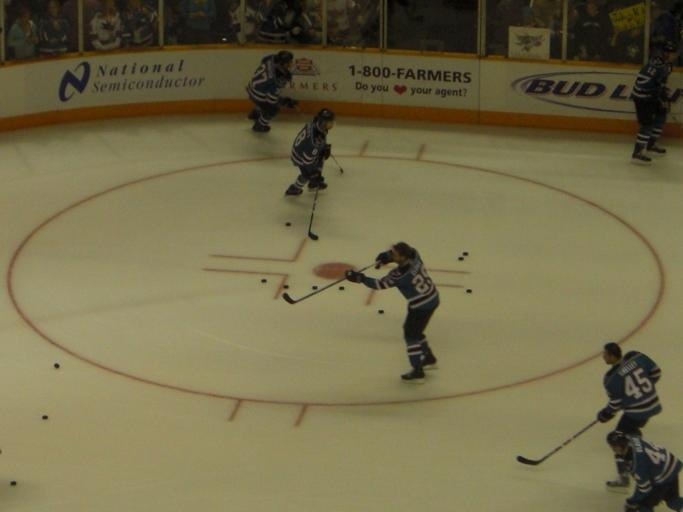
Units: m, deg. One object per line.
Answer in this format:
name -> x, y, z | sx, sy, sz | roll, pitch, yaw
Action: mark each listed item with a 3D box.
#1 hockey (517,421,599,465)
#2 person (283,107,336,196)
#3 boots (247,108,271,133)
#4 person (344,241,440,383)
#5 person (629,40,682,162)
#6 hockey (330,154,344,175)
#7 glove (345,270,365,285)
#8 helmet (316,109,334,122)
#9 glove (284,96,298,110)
hockey -> 2.306, 1.998, 8.382 | 1.002, 0.246, 0.282 | -7, 18, -26
person -> -0.568, -1.759, 13.688 | 0.712, 0.853, 1.849 | -1, -21, -6
boots -> -1.669, -2.738, 15.803 | 0.613, 0.315, 0.618 | -3, -20, 0
person -> 0.627, 0.610, 9.507 | 1.077, 1.609, 0.796 | -6, 16, -5
person -> 5.694, -2.822, 14.398 | 0.640, 2.092, 0.617 | 4, 16, 8
hockey -> -0.081, -1.683, 14.395 | 0.323, 0.345, 0.092 | 27, 39, 37
glove -> 0.125, 0.242, 9.442 | 0.136, 0.082, 0.185 | 4, 4, -29
helmet -> -0.259, -2.232, 12.451 | 0.243, 0.150, 0.332 | -2, 17, -12
glove -> -1.018, -3.079, 15.770 | 0.297, 0.224, 0.135 | 17, -11, 2
